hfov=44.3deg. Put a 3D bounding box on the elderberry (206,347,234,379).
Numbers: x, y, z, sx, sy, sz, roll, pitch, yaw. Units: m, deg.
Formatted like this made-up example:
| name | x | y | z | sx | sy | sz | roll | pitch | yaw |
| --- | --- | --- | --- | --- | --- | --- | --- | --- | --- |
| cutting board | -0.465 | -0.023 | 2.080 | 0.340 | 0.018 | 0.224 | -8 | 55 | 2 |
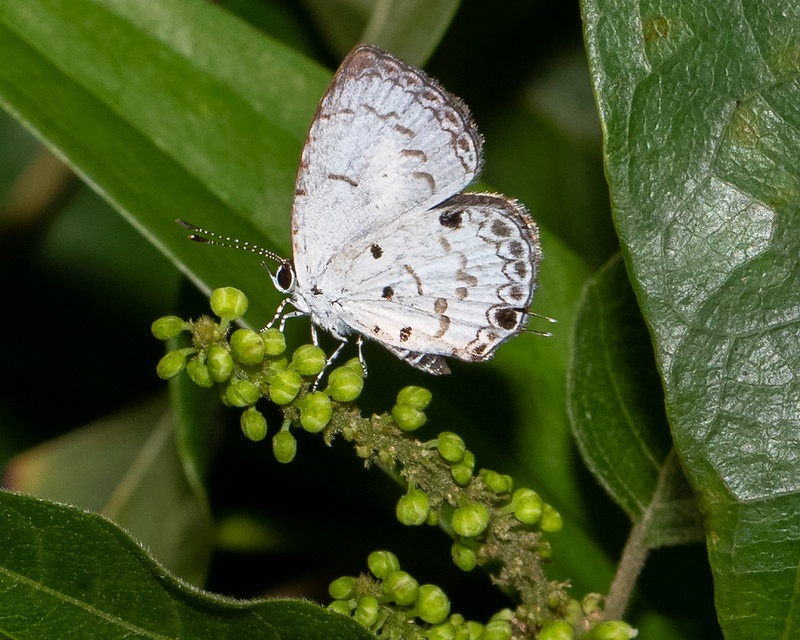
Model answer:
| name | x | y | z | sx | sy | sz | roll | pitch | yaw |
| --- | --- | --- | --- | --- | --- | --- | --- | --- | --- |
| elderberry | -0.521 | 0.126 | 2.900 | 0.075 | 0.093 | 0.030 | -2 | 21 | 39 |
